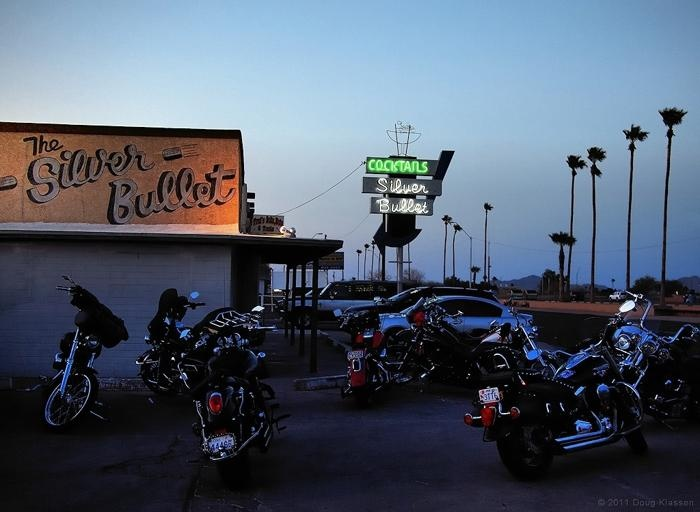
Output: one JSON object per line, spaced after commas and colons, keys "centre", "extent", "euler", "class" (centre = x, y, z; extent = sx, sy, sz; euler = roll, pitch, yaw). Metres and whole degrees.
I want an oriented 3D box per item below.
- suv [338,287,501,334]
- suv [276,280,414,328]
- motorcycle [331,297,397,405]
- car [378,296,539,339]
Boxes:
{"centre": [1.855, 1.278, 16.777], "extent": [3.773, 1.314, 1.737], "euler": [3, -5, -10], "class": "suv"}
{"centre": [-0.418, 1.865, 27.943], "extent": [5.482, 2.247, 2.655], "euler": [1, -4, -2], "class": "suv"}
{"centre": [0.235, 1.790, 11.273], "extent": [0.859, 1.670, 0.573], "euler": [-1, 2, -31], "class": "motorcycle"}
{"centre": [2.536, 1.417, 15.969], "extent": [3.534, 1.227, 1.630], "euler": [7, -3, -12], "class": "car"}
